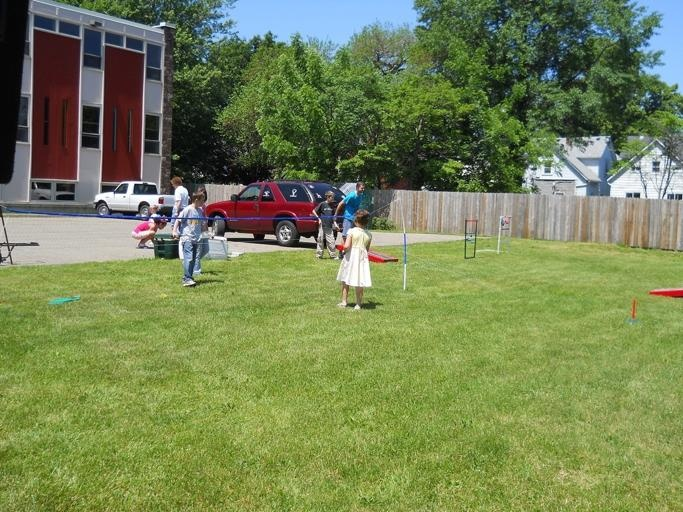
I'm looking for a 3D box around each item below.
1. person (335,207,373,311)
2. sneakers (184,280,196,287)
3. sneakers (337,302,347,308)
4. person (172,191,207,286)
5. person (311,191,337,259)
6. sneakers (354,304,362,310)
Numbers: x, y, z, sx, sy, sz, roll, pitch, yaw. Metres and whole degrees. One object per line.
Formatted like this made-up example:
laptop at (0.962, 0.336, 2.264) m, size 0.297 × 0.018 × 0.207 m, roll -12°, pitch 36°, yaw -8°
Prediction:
person at (0.253, 0.015, 11.468) m, size 0.582 × 1.757 × 1.507 m, roll 2°, pitch 8°, yaw 1°
sneakers at (-2.961, 0.533, 12.590) m, size 0.101 × 0.118 × 0.232 m, roll 2°, pitch -7°, yaw -42°
sneakers at (0.035, 0.869, 11.397) m, size 0.193 × 0.092 × 0.066 m, roll 4°, pitch 1°, yaw 42°
person at (-3.079, -0.380, 13.050) m, size 0.641 × 1.836 × 1.240 m, roll 0°, pitch 8°, yaw -15°
person at (-0.422, -0.900, 17.765) m, size 0.587 × 1.782 × 1.432 m, roll 2°, pitch 8°, yaw -2°
sneakers at (0.295, 0.878, 11.216) m, size 0.085 × 0.072 × 0.251 m, roll -1°, pitch -2°, yaw 7°
